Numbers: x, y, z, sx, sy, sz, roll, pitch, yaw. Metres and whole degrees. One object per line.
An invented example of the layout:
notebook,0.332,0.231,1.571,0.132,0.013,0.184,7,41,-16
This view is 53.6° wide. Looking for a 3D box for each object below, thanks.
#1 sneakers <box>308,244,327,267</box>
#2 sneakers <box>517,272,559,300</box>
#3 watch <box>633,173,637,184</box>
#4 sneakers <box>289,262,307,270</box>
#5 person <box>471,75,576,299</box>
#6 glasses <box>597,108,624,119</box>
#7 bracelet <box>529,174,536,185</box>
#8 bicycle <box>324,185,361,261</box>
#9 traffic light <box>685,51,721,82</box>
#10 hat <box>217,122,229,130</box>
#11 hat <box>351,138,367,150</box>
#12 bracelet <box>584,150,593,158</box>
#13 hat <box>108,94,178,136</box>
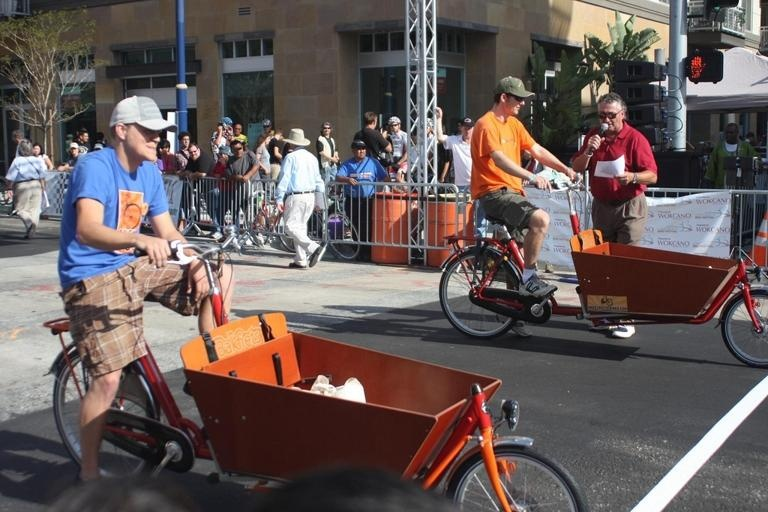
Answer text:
sneakers,-1.114,-0.008,12.806,0.176,0.488,0.163,16,23,-19
sneakers,1.617,0.318,8.049,0.337,0.224,0.217,0,9,19
watch,2.675,-0.838,8.129,0.030,0.081,0.055,0,7,-45
sneakers,-1.421,0.145,12.615,0.302,0.135,0.117,7,11,35
person,1.523,-0.777,8.423,1.126,2.458,1.061,-7,11,-44
glasses,2.483,-1.572,8.343,0.244,0.083,0.198,4,12,18
bracelet,1.604,-0.839,8.201,0.078,0.064,0.083,-13,40,-15
bicycle,-0.826,-0.627,13.902,0.798,1.350,1.360,-1,-12,-3
traffic light,5.535,-3.263,13.180,0.575,0.634,0.298,0,-11,25
hat,-4.229,-3.502,20.137,0.299,0.101,0.322,5,15,-16
hat,-0.476,-2.074,13.881,0.206,0.159,0.283,-5,-11,-28
bracelet,2.237,-1.142,8.347,0.056,0.074,0.025,1,17,10
hat,-1.652,-0.985,5.201,0.434,0.245,0.318,2,11,5
